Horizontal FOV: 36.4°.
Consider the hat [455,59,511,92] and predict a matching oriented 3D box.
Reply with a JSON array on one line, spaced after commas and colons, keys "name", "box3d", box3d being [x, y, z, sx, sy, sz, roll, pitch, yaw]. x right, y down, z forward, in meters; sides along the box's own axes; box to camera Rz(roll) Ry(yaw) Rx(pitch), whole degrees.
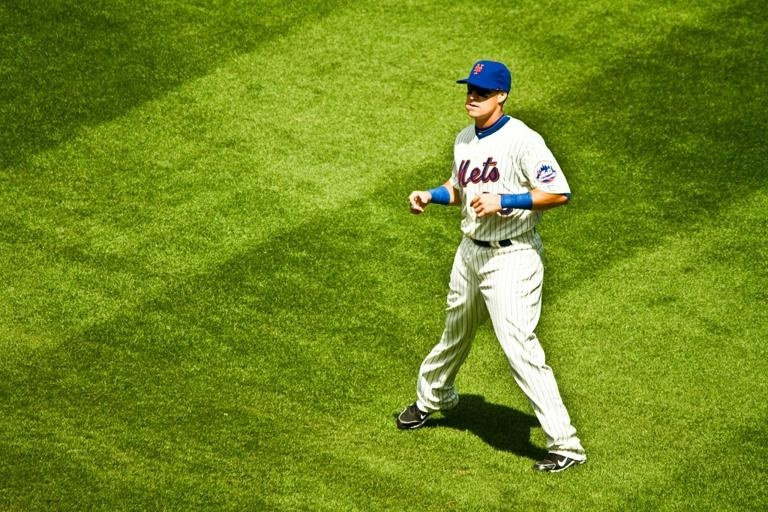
[{"name": "hat", "box3d": [0.941, -1.685, 10.769, 0.556, 0.289, 0.399, -14, 29, -43]}]

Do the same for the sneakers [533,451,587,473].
[{"name": "sneakers", "box3d": [1.608, 1.925, 10.760, 0.502, 0.219, 0.185, -5, 28, -3]}]
